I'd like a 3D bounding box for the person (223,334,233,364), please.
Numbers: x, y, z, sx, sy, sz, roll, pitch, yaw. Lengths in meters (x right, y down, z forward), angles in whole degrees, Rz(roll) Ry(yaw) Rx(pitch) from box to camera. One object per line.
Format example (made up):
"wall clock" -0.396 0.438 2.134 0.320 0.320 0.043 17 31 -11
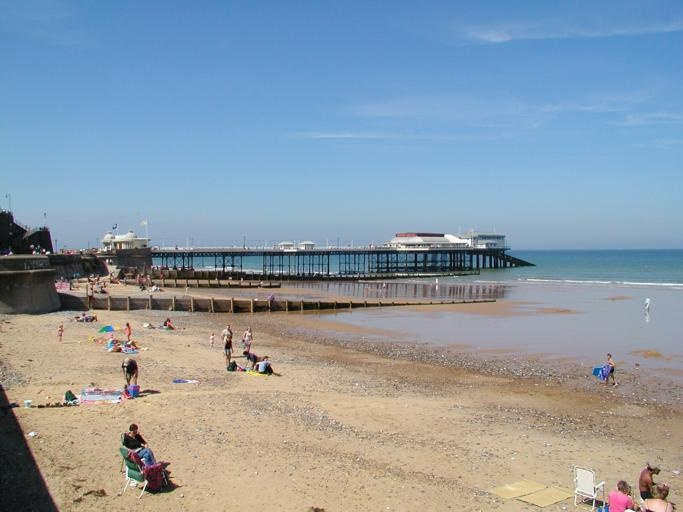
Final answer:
"person" -4.988 4.111 27.558 0.296 1.106 0.767 -10 -17 33

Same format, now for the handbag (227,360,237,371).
"handbag" -4.526 4.523 25.774 0.355 0.341 0.398 3 0 5

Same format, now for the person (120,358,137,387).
"person" -7.462 4.070 22.250 0.481 1.021 0.780 2 13 -20

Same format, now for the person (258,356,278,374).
"person" -3.079 4.442 25.627 0.795 0.788 0.639 4 12 -5

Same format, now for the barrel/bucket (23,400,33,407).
"barrel/bucket" -9.970 4.693 19.969 0.248 0.143 0.216 0 -1 -14
